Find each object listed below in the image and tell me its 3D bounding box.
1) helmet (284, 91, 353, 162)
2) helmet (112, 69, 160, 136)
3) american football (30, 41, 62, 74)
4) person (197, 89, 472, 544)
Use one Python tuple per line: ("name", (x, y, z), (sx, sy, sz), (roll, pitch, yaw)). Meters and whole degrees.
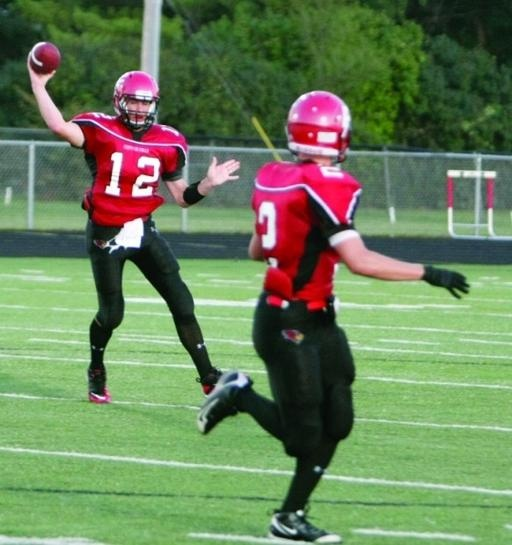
("helmet", (0.206, -0.597, 4.164), (0.300, 0.213, 0.307), (6, 13, 12))
("helmet", (-0.700, -0.998, 5.973), (0.255, 0.370, 0.275), (2, 7, -6))
("american football", (-1.242, -1.256, 5.972), (0.178, 0.201, 0.229), (2, 7, -11))
("person", (0.254, 0.154, 4.064), (0.493, 1.758, 0.636), (-3, 11, -40))
